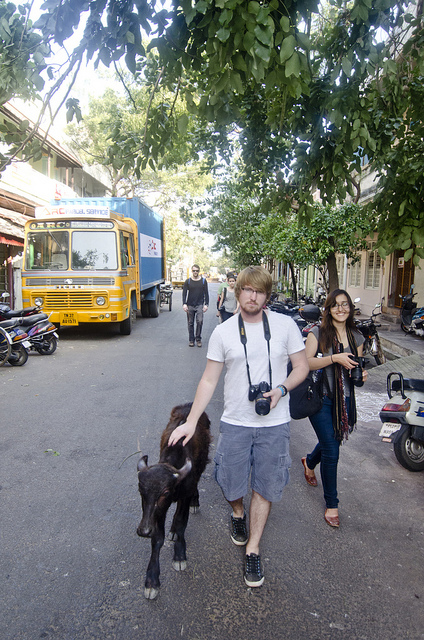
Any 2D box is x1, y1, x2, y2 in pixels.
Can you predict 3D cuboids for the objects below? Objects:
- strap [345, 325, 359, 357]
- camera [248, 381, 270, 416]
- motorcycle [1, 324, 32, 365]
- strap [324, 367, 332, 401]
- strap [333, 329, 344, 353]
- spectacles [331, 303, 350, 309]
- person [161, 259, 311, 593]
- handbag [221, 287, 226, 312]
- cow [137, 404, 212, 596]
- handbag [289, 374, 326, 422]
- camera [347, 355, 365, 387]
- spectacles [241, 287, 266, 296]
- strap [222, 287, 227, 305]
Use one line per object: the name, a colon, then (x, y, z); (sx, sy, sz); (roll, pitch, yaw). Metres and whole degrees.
strap: (1.088, 0.163, 2.966); (0.051, 0.247, 0.041); (-8, -17, 13)
camera: (0.242, 0.397, 1.965); (0.108, 0.154, 0.128); (1, -3, 9)
motorcycle: (-4.192, 0.528, 8.165); (0.402, 0.849, 0.526); (0, -3, 32)
strap: (0.857, 0.478, 2.850); (0.028, 0.263, 0.035); (-12, -3, 35)
strap: (0.970, 0.177, 2.913); (0.033, 0.204, 0.030); (13, -11, -16)
spectacles: (0.985, -0.107, 2.918); (0.137, 0.048, 0.040); (3, -3, -14)
person: (0.131, 0.567, 2.196); (0.836, 1.747, 0.625); (-2, 7, -5)
handbag: (0.295, -0.525, 9.810); (0.104, 0.465, 0.246); (5, -1, -12)
cow: (-0.046, 0.892, 2.120); (0.287, 0.735, 1.165); (-1, -1, 4)
handbag: (0.756, 0.644, 2.864); (0.211, 0.423, 0.315); (-3, -42, 21)
camera: (1.015, 0.370, 2.737); (0.165, 0.212, 0.077); (3, -14, -15)
spectacles: (0.212, -0.149, 2.020); (0.111, 0.041, 0.024); (1, -2, 9)
strap: (0.321, -0.626, 9.768); (0.077, 0.432, 0.146); (1, -2, -1)
